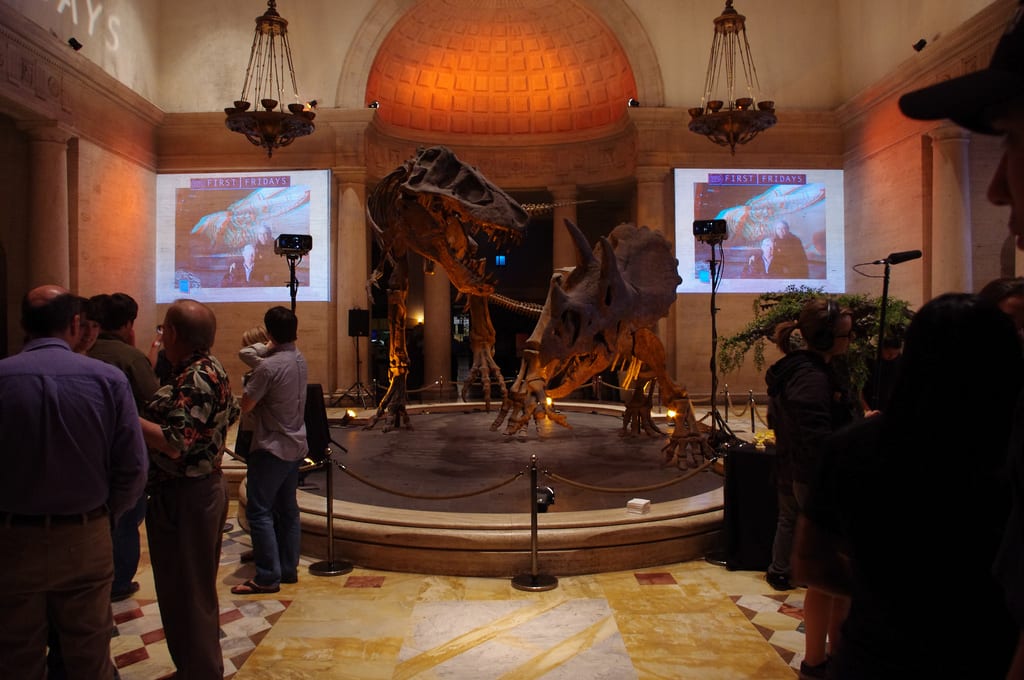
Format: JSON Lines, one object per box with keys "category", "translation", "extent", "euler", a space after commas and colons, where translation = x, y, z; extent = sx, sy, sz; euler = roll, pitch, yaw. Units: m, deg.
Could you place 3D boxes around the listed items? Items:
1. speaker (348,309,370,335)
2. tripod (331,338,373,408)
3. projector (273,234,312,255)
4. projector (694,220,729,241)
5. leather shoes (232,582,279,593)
{"category": "speaker", "translation": [-2.882, -0.338, 14.251], "extent": [0.467, 0.652, 0.339], "euler": [-1, 5, 1]}
{"category": "tripod", "translation": [-3.180, 0.618, 15.260], "extent": [0.780, 1.302, 0.854], "euler": [3, 14, 16]}
{"category": "projector", "translation": [-3.301, -1.406, 11.412], "extent": [0.410, 0.224, 0.470], "euler": [0, 0, -16]}
{"category": "projector", "translation": [2.688, -1.460, 10.250], "extent": [0.321, 0.306, 0.447], "euler": [-8, 15, -28]}
{"category": "leather shoes", "translation": [-2.053, 1.988, 6.074], "extent": [0.326, 0.085, 0.133], "euler": [6, -13, -7]}
